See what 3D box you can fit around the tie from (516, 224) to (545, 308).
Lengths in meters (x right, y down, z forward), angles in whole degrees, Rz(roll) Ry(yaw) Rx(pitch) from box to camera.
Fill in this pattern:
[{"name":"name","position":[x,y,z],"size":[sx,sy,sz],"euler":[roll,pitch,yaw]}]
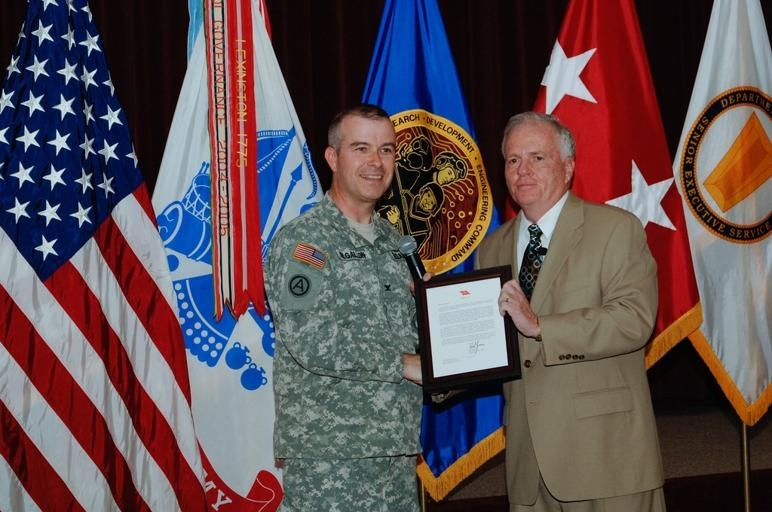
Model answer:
[{"name":"tie","position":[0.832,0.055,5.894],"size":[0.112,0.481,0.048],"euler":[5,28,7]}]

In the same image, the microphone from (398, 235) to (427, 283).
[{"name":"microphone","position":[0.155,0.018,5.690],"size":[0.134,0.217,0.217],"euler":[-5,2,-1]}]

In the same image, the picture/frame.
[{"name":"picture/frame","position":[0.447,0.394,5.613],"size":[0.543,0.708,0.060],"euler":[-7,-34,5]}]
